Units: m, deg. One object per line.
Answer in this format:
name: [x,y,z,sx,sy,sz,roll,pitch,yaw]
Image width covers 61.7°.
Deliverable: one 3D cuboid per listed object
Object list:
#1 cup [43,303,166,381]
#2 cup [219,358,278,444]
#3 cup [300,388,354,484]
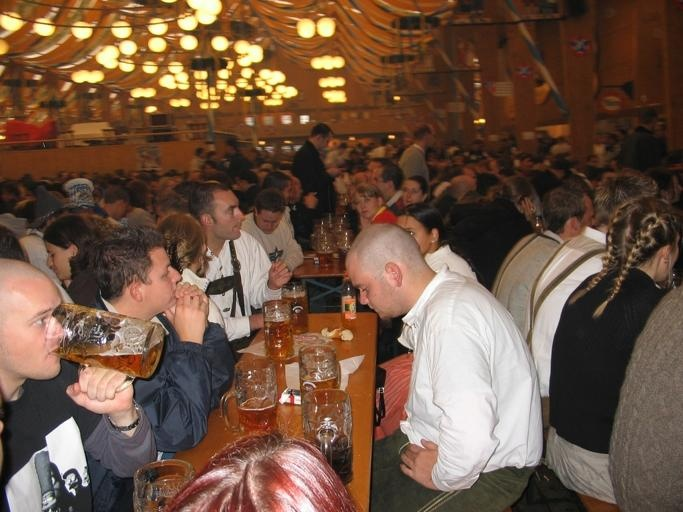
cup: [-0.604,0.222,1.466,0.282,0.280,0.145,13,48,-9]
cup: [-0.284,0.489,1.818,0.221,0.219,0.132,-11,-16,12]
cup: [-0.081,0.527,1.699,0.151,0.248,0.254,7,-17,-21]
